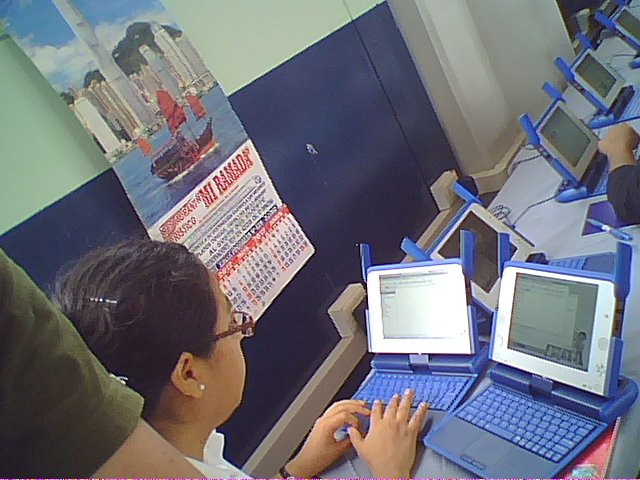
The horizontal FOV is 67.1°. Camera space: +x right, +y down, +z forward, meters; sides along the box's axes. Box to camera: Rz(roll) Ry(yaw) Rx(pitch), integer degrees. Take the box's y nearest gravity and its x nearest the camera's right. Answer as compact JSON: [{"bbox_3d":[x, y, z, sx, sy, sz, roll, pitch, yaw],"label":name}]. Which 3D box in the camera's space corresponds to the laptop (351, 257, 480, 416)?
[{"bbox_3d":[0.354,0.372,1.865,0.438,0.479,0.401,-3,19,24],"label":"laptop"}]

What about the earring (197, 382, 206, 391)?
[{"bbox_3d":[-0.569,0.700,2.311,0.007,0.035,0.033,-8,-4,22],"label":"earring"}]

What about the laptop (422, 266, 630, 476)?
[{"bbox_3d":[0.716,0.461,1.660,0.688,0.541,0.494,-37,29,-27],"label":"laptop"}]
